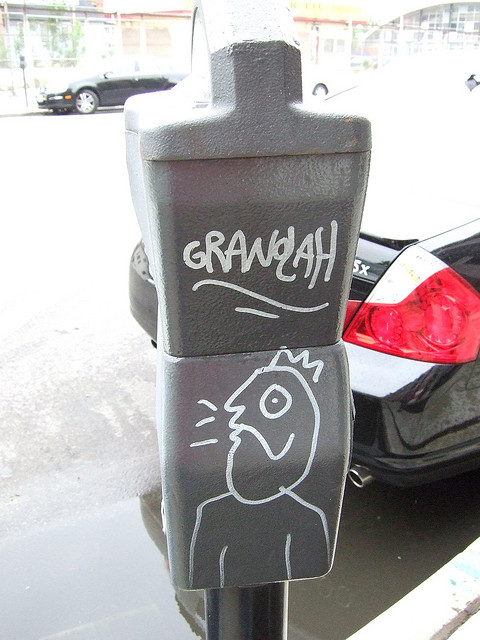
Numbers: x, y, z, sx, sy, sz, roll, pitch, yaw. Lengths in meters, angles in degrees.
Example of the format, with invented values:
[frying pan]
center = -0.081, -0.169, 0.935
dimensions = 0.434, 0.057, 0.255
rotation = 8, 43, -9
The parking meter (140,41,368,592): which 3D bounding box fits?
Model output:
[parking meter]
center = -0.002, 0.013, 0.881
dimensions = 0.312, 0.822, 0.314
rotation = -5, 17, -15
